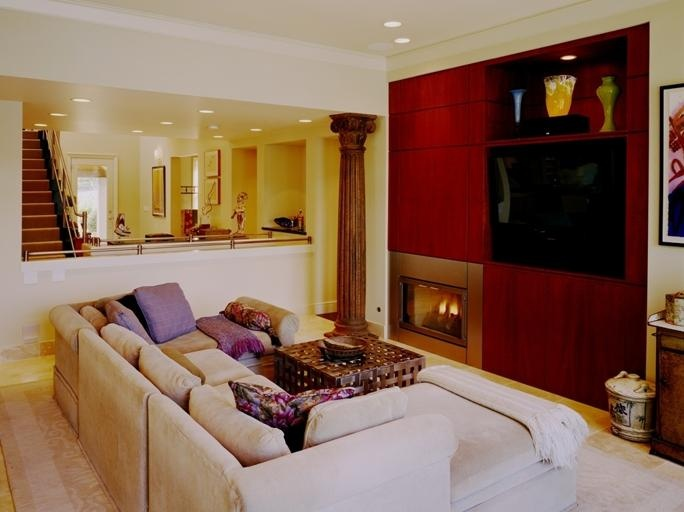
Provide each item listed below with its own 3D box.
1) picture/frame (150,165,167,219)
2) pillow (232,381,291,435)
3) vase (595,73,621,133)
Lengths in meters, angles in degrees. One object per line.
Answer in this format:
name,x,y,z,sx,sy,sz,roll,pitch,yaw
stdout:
picture/frame,-4.090,-1.465,11.535,0.091,1.445,1.142,-3,5,-34
pillow,-0.445,0.838,2.804,0.223,0.194,0.123,15,31,25
vase,2.336,-1.348,4.556,0.169,0.512,0.360,3,9,28
